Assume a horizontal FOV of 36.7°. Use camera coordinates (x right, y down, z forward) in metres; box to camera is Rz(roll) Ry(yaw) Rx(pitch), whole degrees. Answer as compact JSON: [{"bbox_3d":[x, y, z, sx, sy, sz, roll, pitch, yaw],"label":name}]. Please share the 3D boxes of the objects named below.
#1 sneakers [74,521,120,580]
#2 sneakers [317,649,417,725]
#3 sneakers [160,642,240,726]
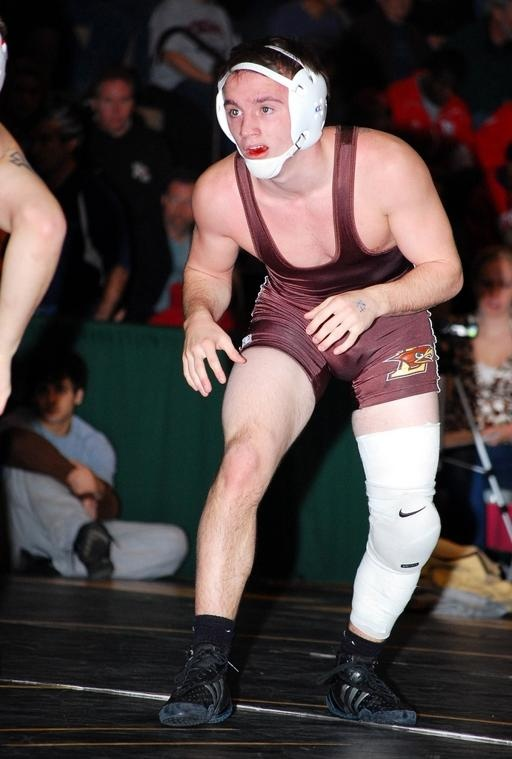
[{"bbox_3d":[-0.500,0.544,2.459,0.079,0.198,0.090,-9,30,-1],"label":"sneakers"},{"bbox_3d":[0.233,0.637,1.594,0.083,0.228,0.135,25,64,-22],"label":"sneakers"},{"bbox_3d":[-0.101,0.602,1.462,0.117,0.146,0.158,13,48,9],"label":"sneakers"}]
